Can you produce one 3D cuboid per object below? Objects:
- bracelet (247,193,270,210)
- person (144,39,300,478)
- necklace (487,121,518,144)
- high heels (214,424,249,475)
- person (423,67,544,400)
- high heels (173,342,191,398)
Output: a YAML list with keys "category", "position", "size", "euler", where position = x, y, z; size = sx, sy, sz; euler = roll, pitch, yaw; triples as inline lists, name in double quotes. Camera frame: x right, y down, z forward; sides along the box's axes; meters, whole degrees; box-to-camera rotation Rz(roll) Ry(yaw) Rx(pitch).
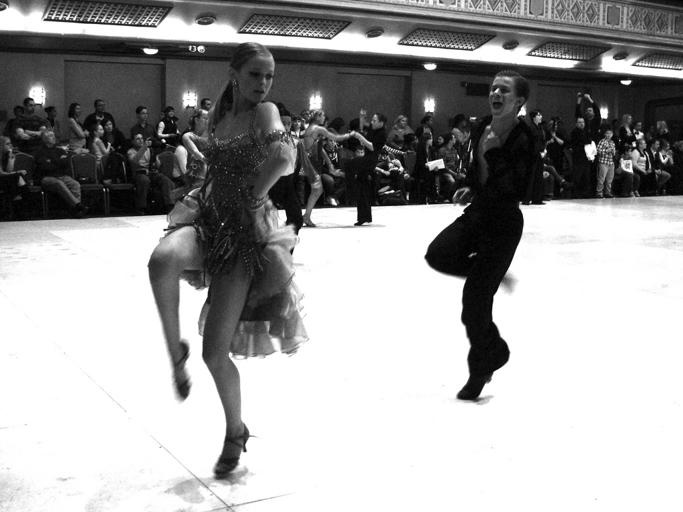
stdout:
- category: "bracelet"
  position: [-0.319, -0.207, 2.077]
  size: [0.054, 0.042, 0.063]
  euler: [0, 0, 7]
- category: "person"
  position: [-0.410, 0.063, 2.098]
  size: [0.553, 1.505, 0.429]
  euler: [0, 8, -5]
- category: "necklace"
  position: [0.800, -0.623, 2.746]
  size: [0.104, 0.145, 0.052]
  euler: [8, -22, 28]
- category: "high heels"
  position: [-0.414, 0.739, 2.072]
  size: [0.074, 0.196, 0.051]
  euler: [-1, -23, 27]
- category: "person"
  position: [0.721, -0.113, 2.851]
  size: [0.433, 1.658, 0.332]
  euler: [-3, 9, -22]
- category: "high heels"
  position: [-0.565, 0.406, 1.952]
  size: [0.062, 0.189, 0.045]
  euler: [-7, 7, -25]
